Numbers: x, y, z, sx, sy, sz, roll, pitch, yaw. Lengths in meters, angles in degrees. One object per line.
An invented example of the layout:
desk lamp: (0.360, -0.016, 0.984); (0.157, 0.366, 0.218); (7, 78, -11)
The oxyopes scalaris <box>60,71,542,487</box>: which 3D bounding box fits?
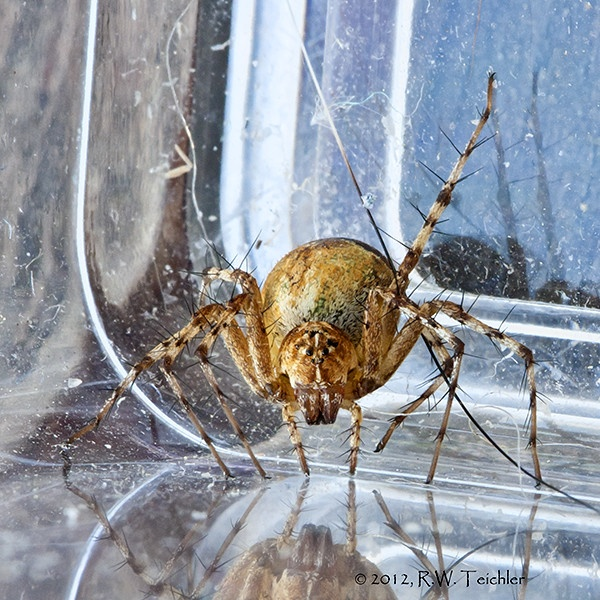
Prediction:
oxyopes scalaris: (0.030, 0.040, 0.957); (0.498, 0.170, 0.545); (0, 56, 5)
